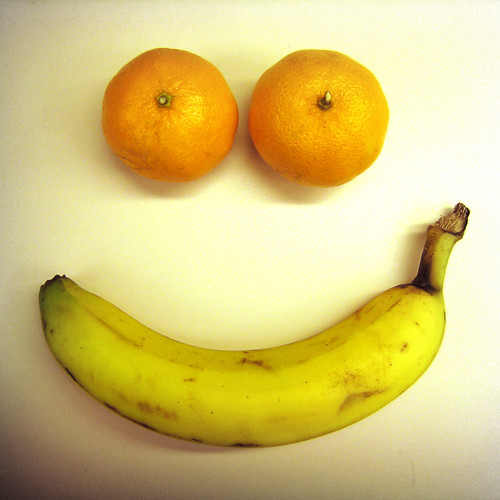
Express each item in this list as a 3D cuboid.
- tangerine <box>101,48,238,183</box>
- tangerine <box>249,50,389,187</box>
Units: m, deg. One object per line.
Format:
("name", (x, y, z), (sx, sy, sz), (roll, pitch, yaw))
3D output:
("tangerine", (-0.131, -0.217, 0.919), (0.212, 0.098, 0.214), (4, -76, -2))
("tangerine", (0.122, -0.198, 0.973), (0.240, 0.139, 0.207), (-4, -90, 1))
